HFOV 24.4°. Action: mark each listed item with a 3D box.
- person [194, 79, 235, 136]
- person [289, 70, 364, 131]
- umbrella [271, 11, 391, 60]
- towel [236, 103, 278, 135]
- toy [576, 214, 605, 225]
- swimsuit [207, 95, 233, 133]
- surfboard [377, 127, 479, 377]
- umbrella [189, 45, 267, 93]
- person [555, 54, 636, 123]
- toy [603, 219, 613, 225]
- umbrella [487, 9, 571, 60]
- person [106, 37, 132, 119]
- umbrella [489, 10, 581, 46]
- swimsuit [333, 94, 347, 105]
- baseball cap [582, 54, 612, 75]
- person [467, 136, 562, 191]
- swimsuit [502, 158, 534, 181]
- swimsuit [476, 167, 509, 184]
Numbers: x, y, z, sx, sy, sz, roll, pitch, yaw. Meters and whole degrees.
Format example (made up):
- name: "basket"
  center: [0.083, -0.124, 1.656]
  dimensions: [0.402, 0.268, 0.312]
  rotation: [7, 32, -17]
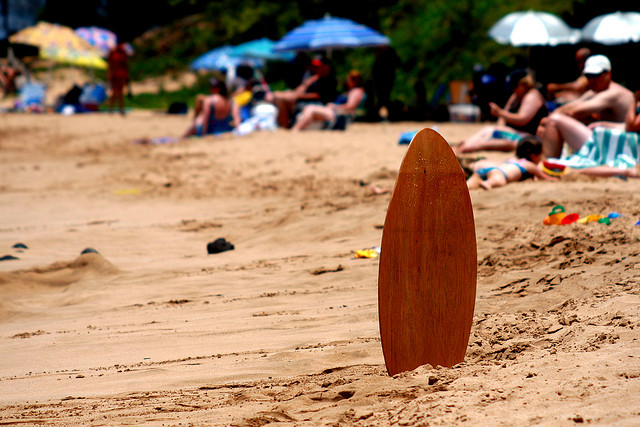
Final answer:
- name: "person"
  center: [-1.829, -1.847, 25.472]
  dimensions: [0.445, 0.922, 1.100]
  rotation: [2, 10, 31]
- name: "person"
  center: [0.107, -2.015, 26.563]
  dimensions: [0.919, 0.525, 1.465]
  rotation: [18, 42, 16]
- name: "umbrella"
  center: [0.349, -3.358, 27.815]
  dimensions: [1.418, 0.613, 1.397]
  rotation: [1, -2, -38]
- name: "towel"
  center: [-1.175, -1.720, 26.193]
  dimensions: [0.404, 0.454, 0.866]
  rotation: [4, 11, 40]
- name: "toy"
  center: [3.641, 0.070, 20.006]
  dimensions: [0.376, 0.083, 0.286]
  rotation: [-2, 8, 8]
- name: "swimsuit"
  center: [-1.778, -1.755, 25.586]
  dimensions: [0.326, 0.657, 0.990]
  rotation: [-2, 8, 8]
- name: "surfboard"
  center: [1.276, 0.453, 18.006]
  dimensions: [1.225, 2.993, 0.507]
  rotation: [-3, 9, 2]
- name: "umbrella"
  center: [-1.905, -3.022, 28.997]
  dimensions: [1.241, 0.791, 1.202]
  rotation: [-2, 2, -9]
- name: "person"
  center: [4.324, -1.867, 22.278]
  dimensions: [1.259, 0.926, 0.829]
  rotation: [-12, 4, -26]
- name: "toy"
  center: [3.847, 0.101, 19.812]
  dimensions: [0.085, 0.075, 0.022]
  rotation: [3, -14, -10]
- name: "umbrella"
  center: [3.892, -3.475, 27.552]
  dimensions: [1.562, 0.662, 0.803]
  rotation: [5, 11, 43]
- name: "person"
  center: [-2.647, -1.737, 19.248]
  dimensions: [0.340, 0.940, 0.497]
  rotation: [-5, 9, -11]
- name: "umbrella"
  center: [3.968, -3.479, 27.491]
  dimensions: [1.680, 0.644, 0.814]
  rotation: [4, 11, 39]
- name: "swimsuit"
  center: [0.346, -2.083, 26.646]
  dimensions: [0.230, 0.171, 0.436]
  rotation: [-3, 8, 1]
- name: "baseball cap"
  center: [4.106, -2.224, 21.813]
  dimensions: [0.295, 0.217, 0.435]
  rotation: [-1, 8, 36]
- name: "person"
  center: [2.880, -0.757, 22.273]
  dimensions: [1.381, 0.589, 0.793]
  rotation: [-12, 15, 0]
- name: "swimsuit"
  center: [2.947, -0.656, 22.230]
  dimensions: [0.472, 0.281, 0.172]
  rotation: [4, 11, 39]
- name: "swimsuit"
  center: [2.529, -0.604, 22.246]
  dimensions: [0.303, 0.130, 0.292]
  rotation: [-5, 13, -15]
